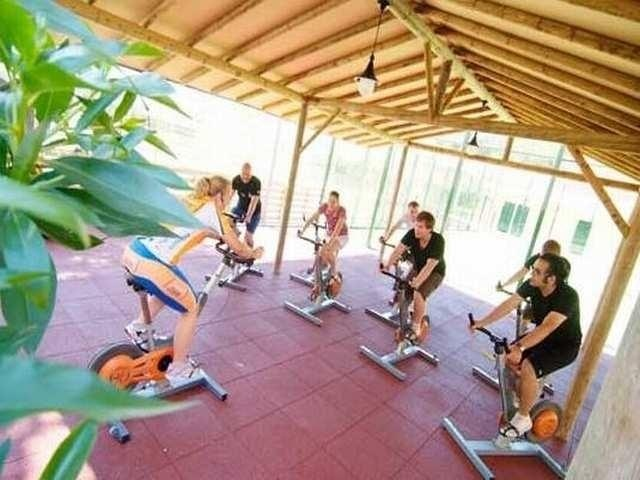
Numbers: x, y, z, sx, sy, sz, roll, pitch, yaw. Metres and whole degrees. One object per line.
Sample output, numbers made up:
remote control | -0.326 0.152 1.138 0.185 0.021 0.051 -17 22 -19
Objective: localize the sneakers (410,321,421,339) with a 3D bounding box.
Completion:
sneakers | 1.019 0.983 4.611 0.077 0.236 0.116 2 -9 39

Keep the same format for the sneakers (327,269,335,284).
sneakers | 0.146 0.484 5.601 0.046 0.153 0.109 9 -4 -33

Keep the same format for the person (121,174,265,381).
person | -0.899 0.353 2.850 0.736 1.589 0.683 16 15 25

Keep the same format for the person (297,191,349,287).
person | 0.063 -0.072 6.077 0.680 1.246 1.392 10 13 3

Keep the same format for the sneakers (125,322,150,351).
sneakers | -1.236 0.657 2.854 0.234 0.105 0.081 39 37 23

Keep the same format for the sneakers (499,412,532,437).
sneakers | 1.580 1.477 3.387 0.267 0.210 0.129 2 15 -34

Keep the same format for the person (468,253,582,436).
person | 1.746 0.834 3.511 0.727 1.488 0.624 -4 19 -45

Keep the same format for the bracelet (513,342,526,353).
bracelet | 1.576 0.855 3.342 0.053 0.084 0.082 51 3 36
